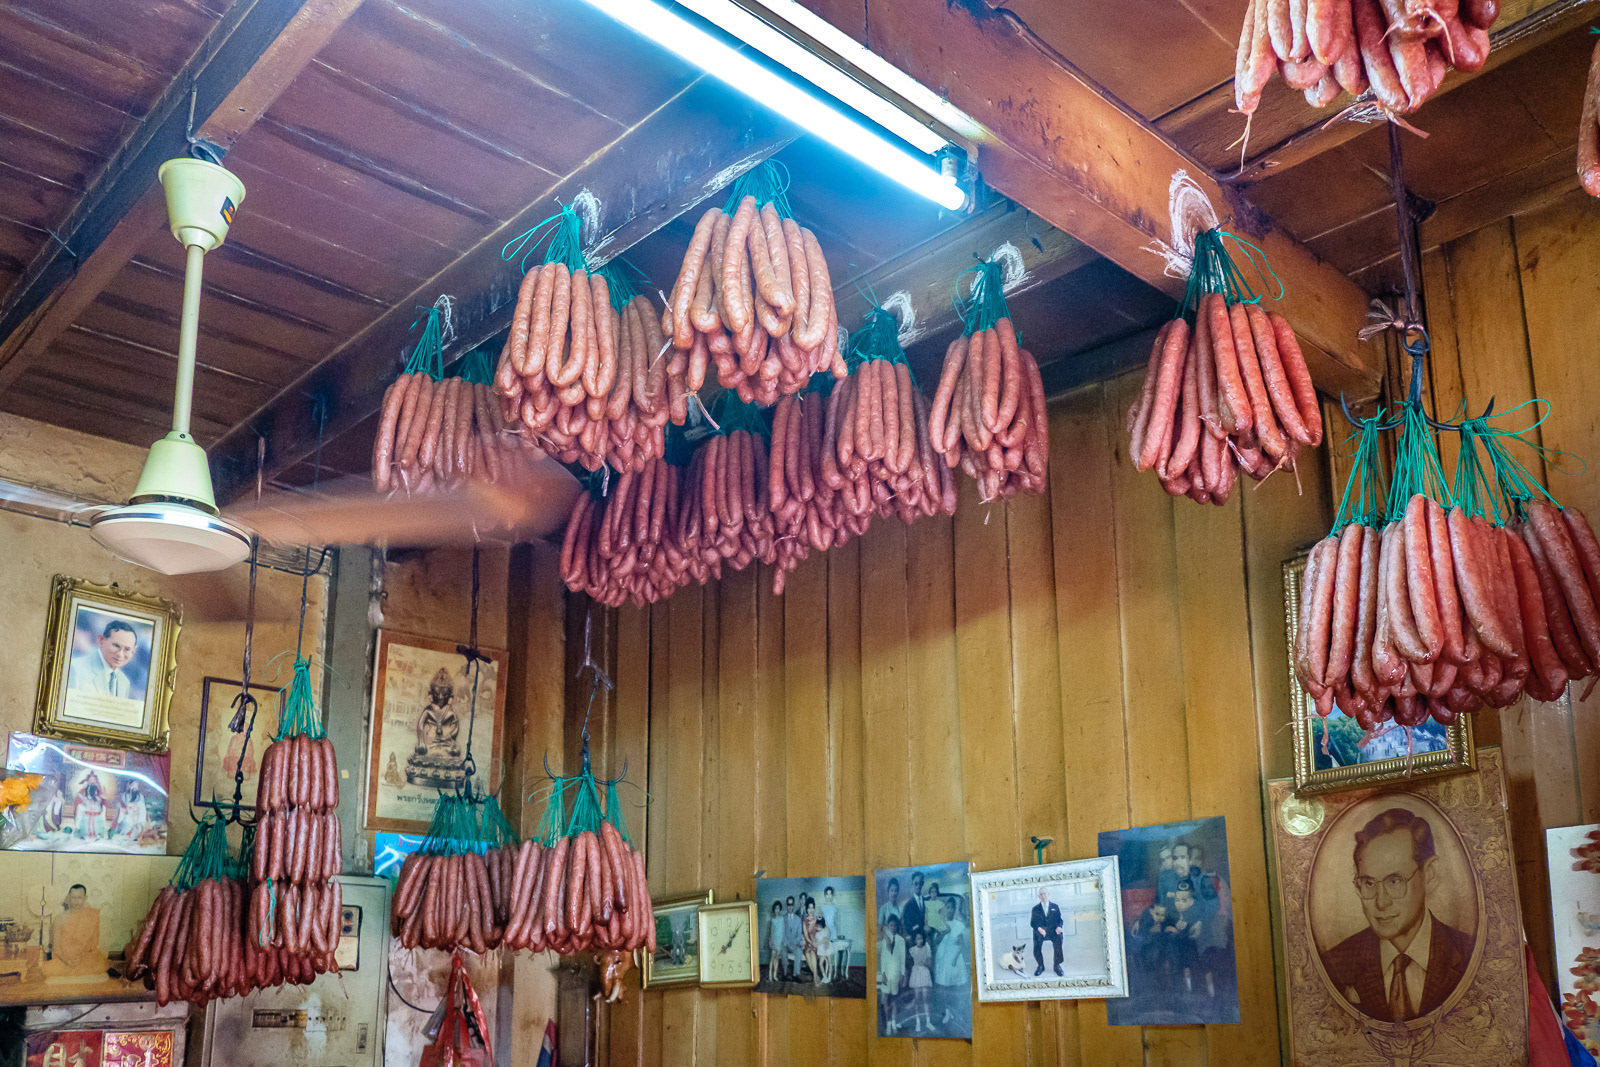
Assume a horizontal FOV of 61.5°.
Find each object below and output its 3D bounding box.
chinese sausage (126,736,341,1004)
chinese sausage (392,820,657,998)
[{"bbox_3d":[-2.118,1.307,5.239,0.746,0.929,0.398,-12,-24,22],"label":"chinese sausage"},{"bbox_3d":[-1.112,1.476,5.489,1.016,0.474,0.439,-14,-25,24],"label":"chinese sausage"}]
